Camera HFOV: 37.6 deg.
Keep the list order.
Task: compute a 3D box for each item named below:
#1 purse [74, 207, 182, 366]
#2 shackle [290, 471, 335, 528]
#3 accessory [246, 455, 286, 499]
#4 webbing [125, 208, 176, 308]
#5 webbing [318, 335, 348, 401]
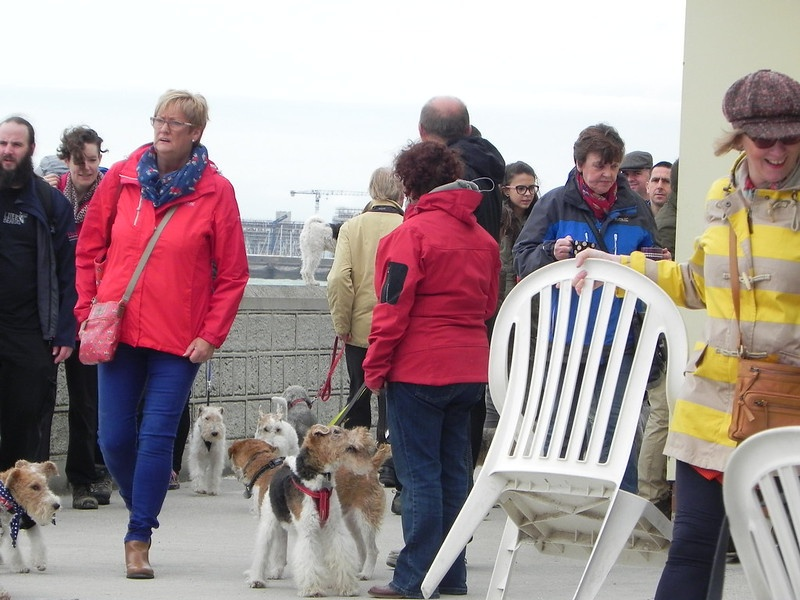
[{"bbox_3d":[-1.662,-0.095,7.127,0.548,0.953,0.246,1,4,-15],"label":"purse"},{"bbox_3d":[-0.483,1.182,6.910,0.270,0.253,0.239,3,1,32],"label":"shackle"},{"bbox_3d":[-0.908,1.221,7.985,0.088,0.329,0.250,21,6,-35],"label":"accessory"},{"bbox_3d":[-1.523,-0.226,7.141,0.067,0.639,0.075,27,-4,17],"label":"webbing"},{"bbox_3d":[-0.687,0.655,11.505,0.102,1.017,0.213,20,36,5],"label":"webbing"}]
